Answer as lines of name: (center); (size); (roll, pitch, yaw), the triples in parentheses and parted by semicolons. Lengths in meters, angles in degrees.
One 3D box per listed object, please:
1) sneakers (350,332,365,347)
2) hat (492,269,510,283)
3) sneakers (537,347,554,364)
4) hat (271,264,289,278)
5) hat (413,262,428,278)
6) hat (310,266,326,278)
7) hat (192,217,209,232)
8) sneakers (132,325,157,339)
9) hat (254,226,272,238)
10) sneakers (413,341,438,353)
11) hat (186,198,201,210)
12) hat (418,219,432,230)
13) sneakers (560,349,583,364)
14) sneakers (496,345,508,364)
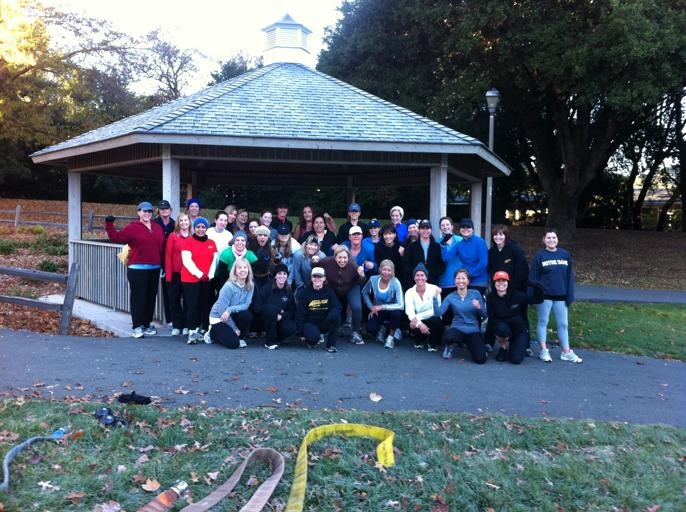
sneakers: (0.231, 1.411, 10.484); (0.286, 0.198, 0.105); (-2, -2, 45)
hat: (2.483, 0.310, 9.712); (0.191, 0.171, 0.332); (0, -7, 8)
sneakers: (3.181, 1.565, 9.651); (0.108, 0.154, 0.324); (-1, -4, 2)
hat: (-1.040, 0.246, 10.098); (0.183, 0.214, 0.256); (1, 4, -13)
hat: (1.283, 0.236, 10.196); (0.182, 0.229, 0.275); (0, -11, 7)
hat: (-0.372, 0.261, 9.967); (0.178, 0.150, 0.312); (1, -8, 5)
hat: (-2.369, -0.564, 10.198); (0.216, 0.184, 0.290); (3, -22, -9)
sneakers: (-3.314, 1.282, 10.299); (0.162, 0.217, 0.442); (-1, -10, 30)
hat: (-1.350, -0.413, 10.392); (0.178, 0.208, 0.234); (4, -6, -13)
sneakers: (1.350, 1.515, 10.149); (0.392, 0.151, 0.197); (4, 24, 14)
hat: (-2.588, -0.928, 10.641); (0.197, 0.238, 0.268); (0, 11, -7)
hat: (1.420, -0.543, 10.743); (0.192, 0.155, 0.334); (-1, -5, 1)
sneakers: (3.602, 1.583, 9.688); (0.330, 0.186, 0.151); (5, 6, 12)
sneakers: (2.483, 1.545, 9.594); (0.160, 0.220, 0.510); (-3, -6, 19)
